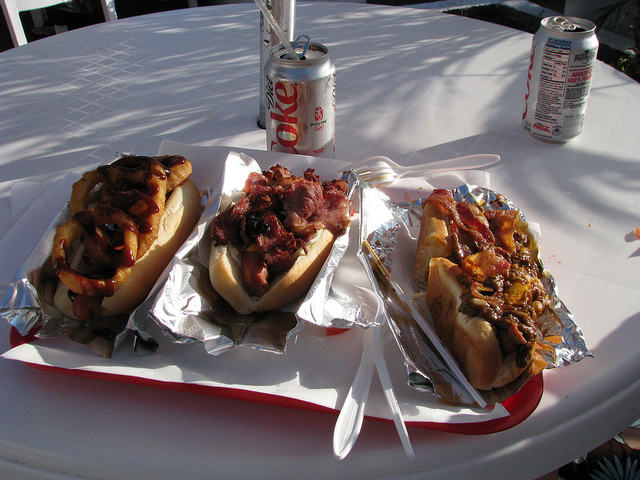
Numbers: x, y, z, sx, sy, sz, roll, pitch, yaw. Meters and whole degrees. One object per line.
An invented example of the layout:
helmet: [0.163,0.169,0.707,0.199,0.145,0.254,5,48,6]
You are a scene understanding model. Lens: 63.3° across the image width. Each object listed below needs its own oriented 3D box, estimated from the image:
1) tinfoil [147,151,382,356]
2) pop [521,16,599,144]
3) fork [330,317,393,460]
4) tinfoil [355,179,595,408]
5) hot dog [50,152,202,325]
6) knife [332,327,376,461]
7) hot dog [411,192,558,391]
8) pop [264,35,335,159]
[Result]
tinfoil: [-0.191,-0.032,1.162,0.386,0.135,0.486,4,41,2]
pop: [0.727,-0.472,1.596,0.185,0.392,0.191,-22,31,-40]
fork: [0.074,0.279,0.962,0.041,0.025,0.279,25,33,3]
tinfoil: [0.348,0.110,1.165,0.398,0.106,0.481,-11,47,3]
hot dog: [-0.469,-0.006,1.287,0.235,0.146,0.456,10,46,12]
knife: [0.068,0.275,0.966,0.041,0.014,0.301,15,30,7]
hot dog: [0.344,0.103,1.114,0.312,0.335,0.336,-4,24,-12]
pop: [-0.048,-0.367,1.448,0.161,0.389,0.154,20,54,17]
